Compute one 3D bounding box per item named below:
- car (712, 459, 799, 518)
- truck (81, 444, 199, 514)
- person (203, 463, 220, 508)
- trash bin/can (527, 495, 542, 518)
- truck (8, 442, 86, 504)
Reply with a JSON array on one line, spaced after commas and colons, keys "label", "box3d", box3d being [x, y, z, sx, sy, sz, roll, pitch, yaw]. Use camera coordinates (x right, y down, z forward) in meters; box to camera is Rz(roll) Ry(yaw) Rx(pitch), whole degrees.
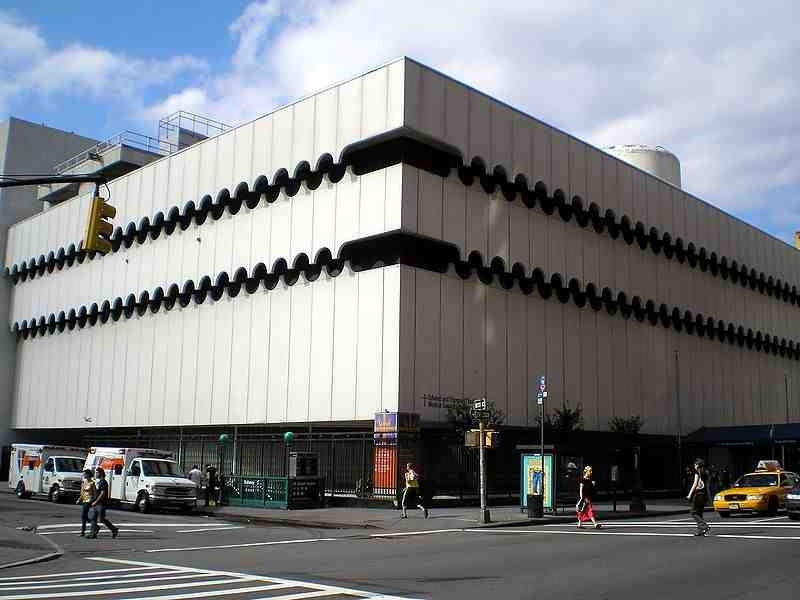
[{"label": "car", "box3d": [14.629, 8.036, 37.961, 3.871, 1.943, 1.912, 11, -19, -37]}, {"label": "truck", "box3d": [-11.532, 8.174, 41.518, 2.681, 2.458, 5.162, 11, -18, -41]}, {"label": "person", "box3d": [-8.794, 8.850, 43.322, 0.656, 1.958, 1.474, 2, -14, -11]}, {"label": "trash bin/can", "box3d": [5.429, 8.362, 36.816, 0.682, 0.940, 0.753, 0, -3, 7]}, {"label": "truck", "box3d": [-17.070, 8.983, 46.659, 2.716, 3.139, 5.191, 11, -17, -43]}]
